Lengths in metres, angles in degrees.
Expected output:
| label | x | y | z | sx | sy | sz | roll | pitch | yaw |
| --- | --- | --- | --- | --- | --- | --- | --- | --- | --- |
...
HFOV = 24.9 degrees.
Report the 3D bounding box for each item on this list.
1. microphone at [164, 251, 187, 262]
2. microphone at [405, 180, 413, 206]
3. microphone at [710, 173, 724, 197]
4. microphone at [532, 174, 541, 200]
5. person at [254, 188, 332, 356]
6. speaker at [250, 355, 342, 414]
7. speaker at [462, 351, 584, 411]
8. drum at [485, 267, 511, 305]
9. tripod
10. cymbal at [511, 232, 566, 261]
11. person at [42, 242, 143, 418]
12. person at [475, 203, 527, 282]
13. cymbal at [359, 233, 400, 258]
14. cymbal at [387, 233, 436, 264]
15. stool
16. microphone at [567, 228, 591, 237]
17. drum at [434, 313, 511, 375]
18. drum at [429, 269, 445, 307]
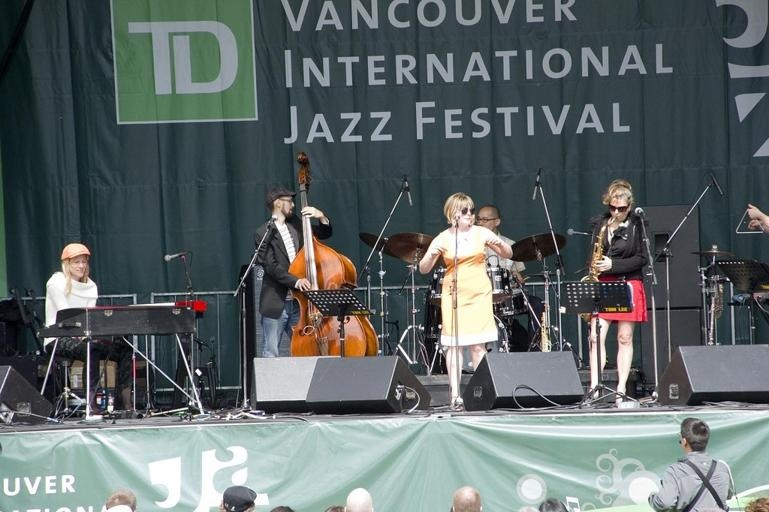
| label | x | y | z | sx | sy | sz | roll | pitch | yaw |
| --- | --- | --- | --- | --- | --- | --- | --- | --- | --- |
| microphone | -2.821 | 0.026 | 23.525 | 0.550 | 0.142 | 0.143 | -4 | -1 | 36 |
| microphone | 0.336 | -0.796 | 23.590 | 0.070 | 0.396 | 0.085 | -8 | 3 | -3 |
| microphone | 4.498 | -0.927 | 23.524 | 0.073 | 0.480 | 0.078 | -7 | -47 | -23 |
| microphone | 2.072 | -0.919 | 23.743 | 0.067 | 0.371 | 0.054 | 4 | -31 | 21 |
| person | -1.172 | 0.266 | 22.120 | 0.792 | 2.313 | 0.755 | 0 | -11 | 0 |
| speaker | -1.152 | 1.454 | 19.898 | 0.852 | 0.664 | 0.574 | -1 | -5 | -1 |
| speaker | 1.615 | 1.426 | 19.937 | 0.930 | 0.522 | 0.768 | 0 | -27 | -16 |
| drum | 1.476 | 0.381 | 22.084 | 0.413 | 0.394 | 0.388 | -5 | -7 | 10 |
| tripod | 2.709 | 1.160 | 21.110 | 0.502 | 1.208 | 0.473 | 10 | 31 | 23 |
| cymbal | 1.977 | -0.099 | 22.501 | 0.732 | 0.265 | 0.569 | -10 | -14 | 19 |
| person | -3.706 | 0.802 | 21.920 | 0.946 | 2.237 | 0.933 | 5 | -16 | -9 |
| person | 1.545 | -0.203 | 23.337 | 0.493 | 0.479 | 1.187 | 0 | -43 | -1 |
| cymbal | -0.082 | -0.182 | 22.651 | 0.364 | 0.085 | 0.367 | 20 | -22 | 23 |
| cymbal | 0.300 | -0.113 | 22.473 | 0.424 | 0.100 | 0.425 | 9 | -31 | 7 |
| stool | -4.028 | 1.648 | 22.097 | 0.642 | 0.766 | 0.672 | -5 | -5 | -4 |
| microphone | 2.624 | -0.292 | 23.523 | 0.255 | 0.066 | 0.069 | 8 | -51 | 10 |
| drum | 1.233 | 1.117 | 22.258 | 0.786 | 0.770 | 0.733 | -1 | 3 | 3 |
| drum | 0.676 | 0.413 | 22.292 | 0.369 | 0.349 | 0.371 | 1 | -21 | 4 |
